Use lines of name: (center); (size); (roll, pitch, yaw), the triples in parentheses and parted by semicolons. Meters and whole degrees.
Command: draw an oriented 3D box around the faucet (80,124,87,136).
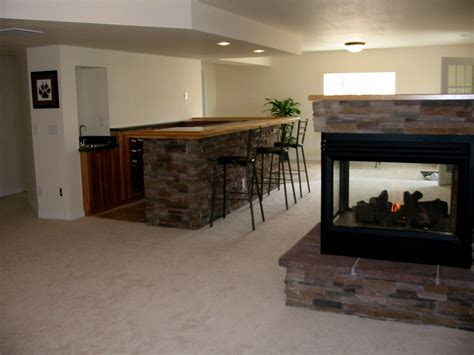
faucet: (-2.649, -0.815, 6.098); (0.127, 0.200, 0.063); (-7, 14, -25)

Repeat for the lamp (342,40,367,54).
lamp: (2.543, -2.862, 7.710); (0.482, 0.195, 0.478); (4, 15, 17)

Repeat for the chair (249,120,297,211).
chair: (0.596, -0.234, 6.168); (0.776, 1.499, 0.724); (-4, 12, -4)

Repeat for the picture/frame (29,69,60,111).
picture/frame: (-2.793, -1.303, 5.179); (0.612, 0.676, 0.034); (6, 13, 25)
